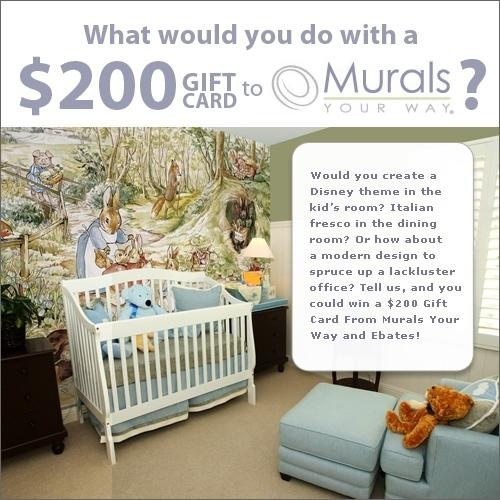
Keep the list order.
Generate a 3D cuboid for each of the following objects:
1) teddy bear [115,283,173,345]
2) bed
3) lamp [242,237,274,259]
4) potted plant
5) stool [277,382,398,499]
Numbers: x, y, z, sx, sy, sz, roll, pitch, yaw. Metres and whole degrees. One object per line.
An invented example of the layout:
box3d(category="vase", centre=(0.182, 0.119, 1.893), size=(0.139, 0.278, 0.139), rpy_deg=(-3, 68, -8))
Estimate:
box3d(category="teddy bear", centre=(-0.748, 0.438, 3.284), size=(0.338, 0.382, 0.226), rpy_deg=(-4, 10, -40))
box3d(category="bed", centre=(-0.663, 0.579, 3.309), size=(1.411, 1.340, 0.898), rpy_deg=(-5, 2, -41))
box3d(category="lamp", centre=(0.075, -0.010, 4.003), size=(0.209, 0.169, 0.222), rpy_deg=(4, 8, 34))
box3d(category="potted plant", centre=(-1.361, 0.440, 2.802), size=(0.301, 0.420, 0.292), rpy_deg=(1, -2, 20))
box3d(category="stool", centre=(0.457, 0.929, 2.479), size=(0.428, 0.422, 0.470), rpy_deg=(0, 13, 24))
